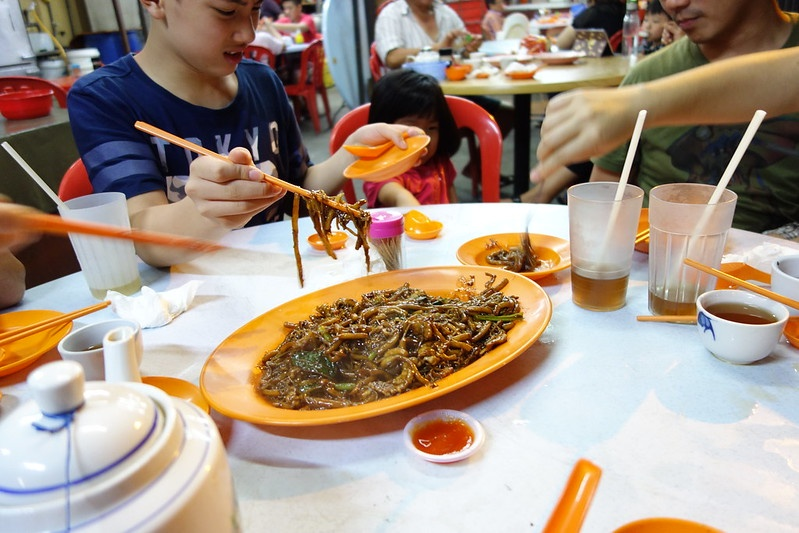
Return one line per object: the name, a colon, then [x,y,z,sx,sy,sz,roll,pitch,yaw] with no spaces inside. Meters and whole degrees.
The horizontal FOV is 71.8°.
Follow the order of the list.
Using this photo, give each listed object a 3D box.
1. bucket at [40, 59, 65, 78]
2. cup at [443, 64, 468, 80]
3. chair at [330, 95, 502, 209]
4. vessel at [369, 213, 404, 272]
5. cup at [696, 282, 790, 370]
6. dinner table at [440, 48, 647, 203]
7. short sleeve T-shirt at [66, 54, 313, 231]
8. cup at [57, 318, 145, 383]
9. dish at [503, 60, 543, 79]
bucket: [-3.417,-1.976,5.498,0.202,0.183,0.200,1,23,-1]
cup: [0.566,-1.765,5.007,0.249,0.106,0.160,-12,24,-25]
chair: [0.109,-0.730,3.763,0.932,1.123,0.864,-2,23,2]
vessel: [-0.048,-0.098,2.150,0.148,0.228,0.142,-15,32,-21]
cup: [1.005,0.163,1.687,0.242,0.150,0.234,-1,15,0]
dinner table: [1.468,-1.194,5.423,1.577,1.752,1.641,9,39,23]
short sleeve T-shirt: [-0.978,-0.576,2.578,1.001,0.892,0.533,-20,27,-31]
cup: [-0.885,0.242,1.683,0.221,0.155,0.213,1,19,0]
dish: [1.083,-1.748,4.930,0.256,0.123,0.337,-3,34,4]
